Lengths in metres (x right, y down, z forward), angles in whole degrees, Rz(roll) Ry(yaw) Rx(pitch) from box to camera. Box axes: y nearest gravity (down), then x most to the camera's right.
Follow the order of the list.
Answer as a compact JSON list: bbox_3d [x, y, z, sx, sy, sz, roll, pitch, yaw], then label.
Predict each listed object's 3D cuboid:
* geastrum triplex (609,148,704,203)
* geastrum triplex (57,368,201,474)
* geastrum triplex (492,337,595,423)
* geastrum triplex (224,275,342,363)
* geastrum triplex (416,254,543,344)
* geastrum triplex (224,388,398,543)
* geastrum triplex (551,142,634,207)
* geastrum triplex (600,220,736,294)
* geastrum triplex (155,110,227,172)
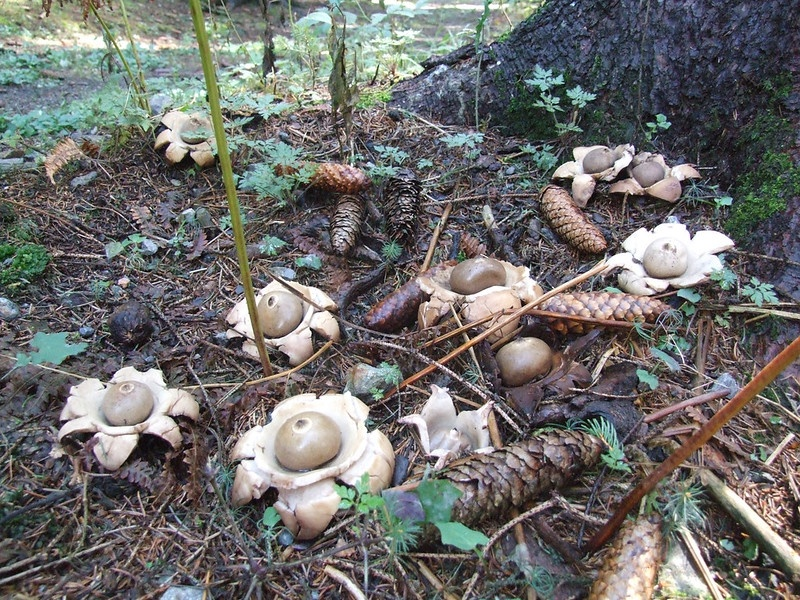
[{"bbox_3d":[1.625,-0.870,4.123,0.347,0.340,0.148,11,90,-24],"label":"geastrum triplex"},{"bbox_3d":[-1.456,0.588,3.236,0.682,0.219,0.549,22,52,11],"label":"geastrum triplex"},{"bbox_3d":[0.769,0.391,3.361,0.426,0.109,0.448,36,59,28],"label":"geastrum triplex"},{"bbox_3d":[-0.731,0.133,3.700,0.649,0.296,0.659,-13,40,-4],"label":"geastrum triplex"},{"bbox_3d":[0.467,-0.049,3.584,0.547,0.252,0.580,-20,42,-5],"label":"geastrum triplex"},{"bbox_3d":[-0.450,0.799,3.092,0.631,0.311,0.706,7,33,10],"label":"geastrum triplex"},{"bbox_3d":[1.302,-0.909,4.125,0.464,0.200,0.453,-48,42,-7],"label":"geastrum triplex"},{"bbox_3d":[1.620,-0.252,3.670,0.568,0.217,0.455,-26,51,-15],"label":"geastrum triplex"},{"bbox_3d":[-1.603,-1.144,4.625,0.468,0.137,0.485,15,53,1],"label":"geastrum triplex"}]
